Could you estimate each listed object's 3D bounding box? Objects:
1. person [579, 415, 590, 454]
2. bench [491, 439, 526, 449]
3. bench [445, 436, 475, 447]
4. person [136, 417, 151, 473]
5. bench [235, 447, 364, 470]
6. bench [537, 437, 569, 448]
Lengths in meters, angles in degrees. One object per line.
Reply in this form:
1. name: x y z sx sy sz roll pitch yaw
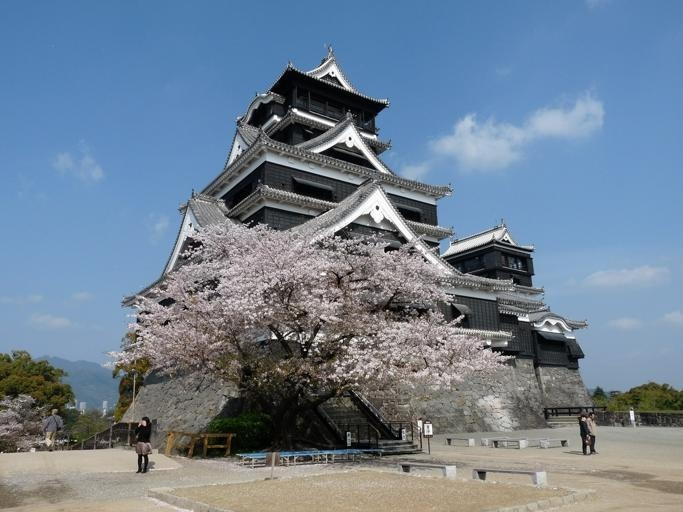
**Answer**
1. person: 10.090 7.339 20.520 0.440 1.572 1.640 -11 -23 23
2. bench: 7.987 8.887 23.541 1.479 0.444 2.311 -7 -22 13
3. bench: 5.887 9.184 24.509 1.218 0.416 2.408 -5 -22 8
4. person: -6.623 6.283 16.654 0.512 1.766 1.462 6 -23 -19
5. bench: -1.399 7.280 17.954 4.607 0.516 2.842 17 -28 -40
6. bench: 10.112 8.833 23.495 1.232 0.444 2.619 -11 -23 23
